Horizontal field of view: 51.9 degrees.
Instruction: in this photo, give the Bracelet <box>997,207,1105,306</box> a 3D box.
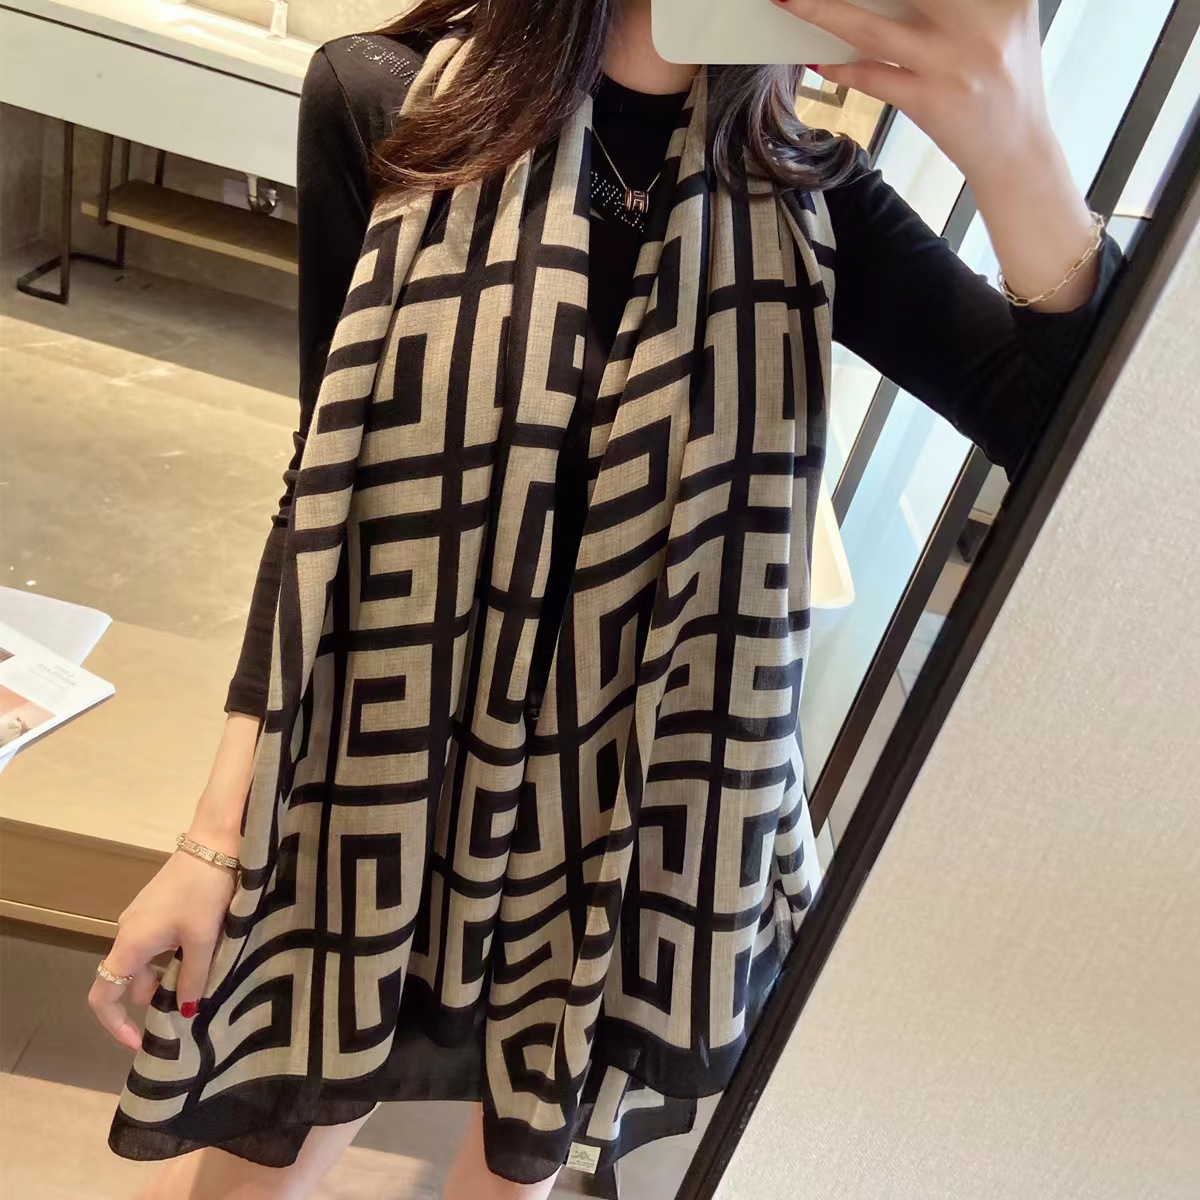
[{"bbox_3d":[0.297,-0.223,0.794,0.048,0.057,0.010,24,30,23],"label":"Bracelet"}]
